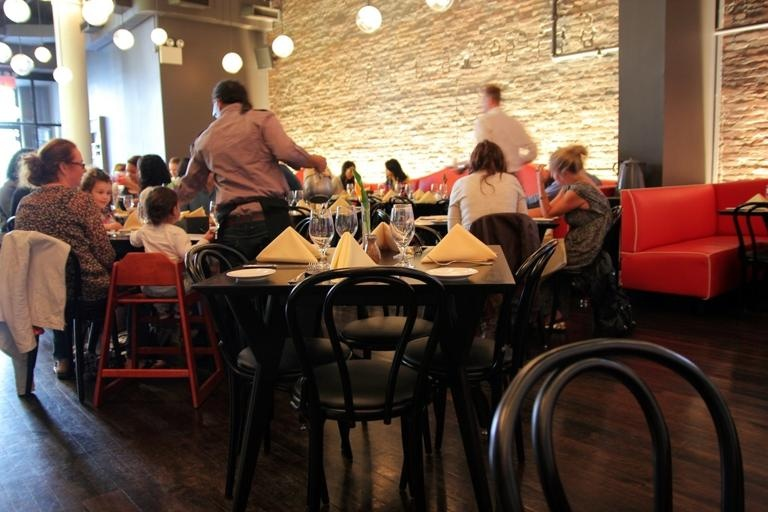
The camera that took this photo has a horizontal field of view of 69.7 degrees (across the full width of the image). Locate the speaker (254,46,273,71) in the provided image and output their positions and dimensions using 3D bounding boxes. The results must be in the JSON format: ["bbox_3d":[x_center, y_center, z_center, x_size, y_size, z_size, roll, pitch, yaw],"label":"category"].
[{"bbox_3d":[-2.459,-4.004,11.172,0.354,0.443,0.383,-3,3,-4],"label":"speaker"}]

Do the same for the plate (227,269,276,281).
[{"bbox_3d":[-0.610,0.086,2.497,0.213,0.038,0.142,-4,3,-13],"label":"plate"}]

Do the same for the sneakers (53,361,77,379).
[{"bbox_3d":[-2.256,0.814,3.871,0.103,0.129,0.301,3,-1,-40],"label":"sneakers"}]

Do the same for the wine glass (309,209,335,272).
[{"bbox_3d":[-0.308,-0.083,2.683,0.113,0.288,0.364,-4,3,-8],"label":"wine glass"}]

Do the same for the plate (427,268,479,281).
[{"bbox_3d":[0.306,0.074,2.456,0.203,0.042,0.230,-3,3,8],"label":"plate"}]

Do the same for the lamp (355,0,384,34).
[{"bbox_3d":[-0.218,-3.163,7.229,0.262,0.378,0.334,-4,3,-10],"label":"lamp"}]

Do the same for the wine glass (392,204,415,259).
[{"bbox_3d":[0.088,-0.107,2.721,0.102,0.282,0.260,-3,3,0],"label":"wine glass"}]
